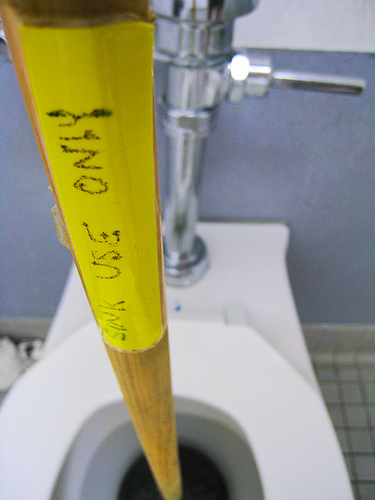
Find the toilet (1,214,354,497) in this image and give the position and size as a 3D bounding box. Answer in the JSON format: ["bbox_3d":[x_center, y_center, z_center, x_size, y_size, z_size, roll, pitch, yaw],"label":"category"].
[{"bbox_3d":[-0.011,0.051,0.500,0.300,0.181,0.305,0,83,3],"label":"toilet"}]
